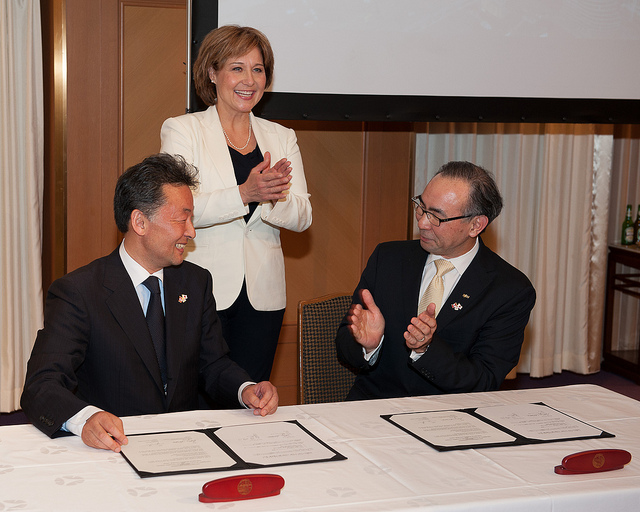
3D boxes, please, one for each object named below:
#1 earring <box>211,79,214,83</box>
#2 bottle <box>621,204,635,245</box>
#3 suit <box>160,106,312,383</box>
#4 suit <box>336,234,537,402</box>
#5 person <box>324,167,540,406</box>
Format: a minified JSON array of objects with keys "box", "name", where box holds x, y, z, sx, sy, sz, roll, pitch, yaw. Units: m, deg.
[{"box":[-0.511,-0.836,2.691,0.002,0.011,0.010,1,0,-44],"name":"earring"},{"box":[2.850,-0.290,5.190,0.108,0.356,0.298,7,9,28],"name":"bottle"},{"box":[-0.439,-0.058,2.813,0.579,1.530,0.537,-1,15,-30],"name":"suit"},{"box":[0.504,0.333,2.408,0.679,0.831,0.649,8,13,13],"name":"suit"},{"box":[0.478,0.129,2.376,0.703,1.014,0.627,-2,10,-32],"name":"person"}]
